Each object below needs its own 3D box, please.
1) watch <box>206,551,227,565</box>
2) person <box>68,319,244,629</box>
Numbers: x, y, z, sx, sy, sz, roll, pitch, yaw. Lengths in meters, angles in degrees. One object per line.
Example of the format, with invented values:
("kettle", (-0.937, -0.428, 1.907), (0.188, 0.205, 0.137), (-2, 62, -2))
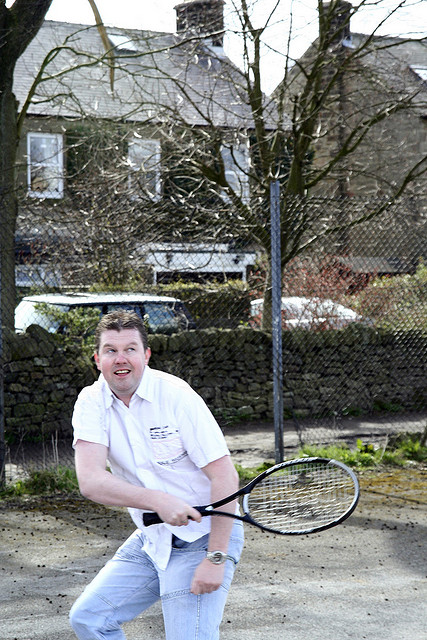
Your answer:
("watch", (0.011, 1.129, 4.641), (0.069, 0.027, 0.069), (9, 28, 8))
("person", (-0.286, 0.755, 4.821), (0.862, 1.467, 0.629), (1, 9, 2))
